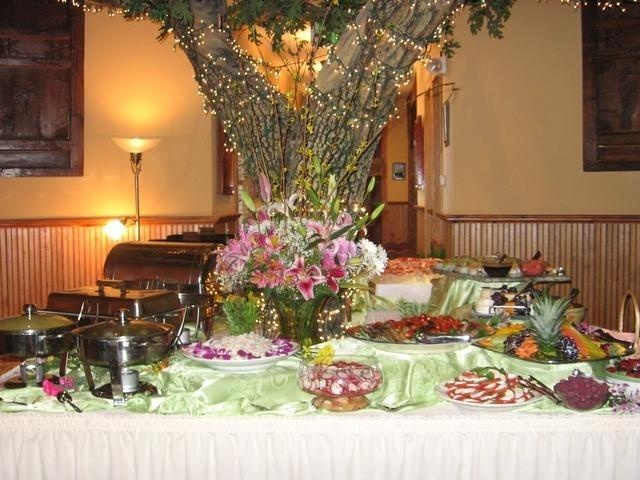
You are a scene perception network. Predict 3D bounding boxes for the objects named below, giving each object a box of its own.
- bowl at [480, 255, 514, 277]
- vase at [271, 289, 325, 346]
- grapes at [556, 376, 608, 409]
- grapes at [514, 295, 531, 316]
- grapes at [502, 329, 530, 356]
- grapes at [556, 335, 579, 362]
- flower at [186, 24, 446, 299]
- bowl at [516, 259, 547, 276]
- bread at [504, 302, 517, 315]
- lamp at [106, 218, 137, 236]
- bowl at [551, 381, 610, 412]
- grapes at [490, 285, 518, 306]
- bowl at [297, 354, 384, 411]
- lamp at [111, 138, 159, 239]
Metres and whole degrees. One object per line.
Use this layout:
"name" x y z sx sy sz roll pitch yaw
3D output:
"bowl" 1.099 0.162 3.458 0.164 0.087 0.163 0 8 0
"vase" -0.096 0.299 2.324 0.228 0.250 0.201 0 0 -25
"grapes" 0.891 0.513 1.901 0.117 0.042 0.120 -21 21 -33
"grapes" 0.941 0.293 2.580 0.058 0.022 0.095 -6 34 21
"grapes" 0.745 0.386 2.138 0.059 0.031 0.114 24 41 32
"grapes" 0.915 0.395 2.056 0.058 0.030 0.080 -4 49 8
"flower" -0.021 -0.479 2.697 1.178 1.254 1.383 -3 13 -13
"bowl" 1.307 0.160 3.466 0.110 0.068 0.114 -1 5 0
"bread" 0.878 0.313 2.581 0.046 0.032 0.043 0 0 5
"lamp" -2.395 -0.177 6.755 0.198 0.148 0.330 7 12 36
"bowl" 0.901 0.525 1.919 0.177 0.093 0.078 0 13 1
"grapes" 0.886 0.255 2.694 0.083 0.038 0.109 1 15 17
"bowl" 0.065 0.469 1.973 0.218 0.116 0.202 0 -5 0
"lamp" -2.166 -0.608 6.710 0.485 1.231 0.732 -5 14 -19
